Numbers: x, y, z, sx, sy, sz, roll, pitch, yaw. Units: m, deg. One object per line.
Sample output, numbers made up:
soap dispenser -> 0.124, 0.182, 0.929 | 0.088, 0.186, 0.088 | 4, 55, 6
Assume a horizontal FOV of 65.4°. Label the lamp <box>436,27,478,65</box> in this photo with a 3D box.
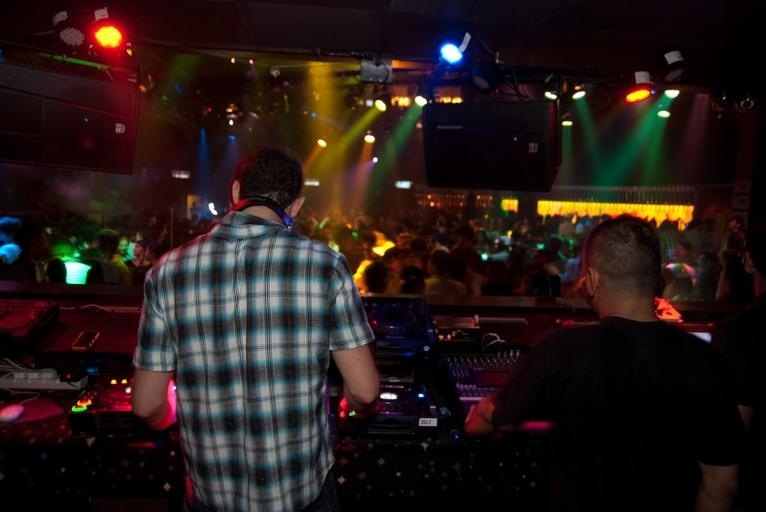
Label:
lamp -> 0.491, -1.452, 4.129 | 0.169, 0.221, 0.172 | 4, 18, -16
